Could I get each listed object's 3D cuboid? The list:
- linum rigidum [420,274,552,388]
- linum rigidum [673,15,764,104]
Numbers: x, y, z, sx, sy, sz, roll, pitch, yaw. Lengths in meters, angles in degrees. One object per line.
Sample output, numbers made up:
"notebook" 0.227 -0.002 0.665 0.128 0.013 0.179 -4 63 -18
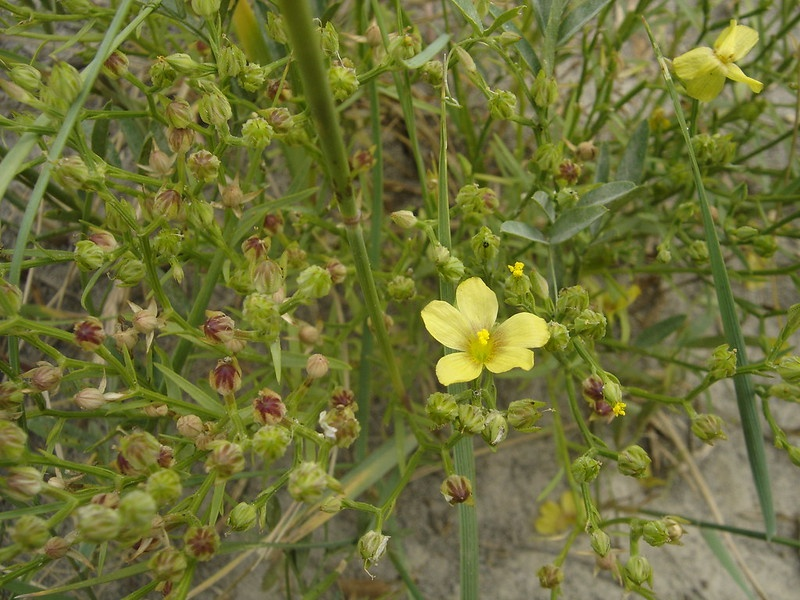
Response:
"linum rigidum" 0.136 0.055 1.191 0.162 0.073 0.195 -13 72 -19
"linum rigidum" 0.540 -0.404 1.232 0.132 0.063 0.164 3 87 -5
